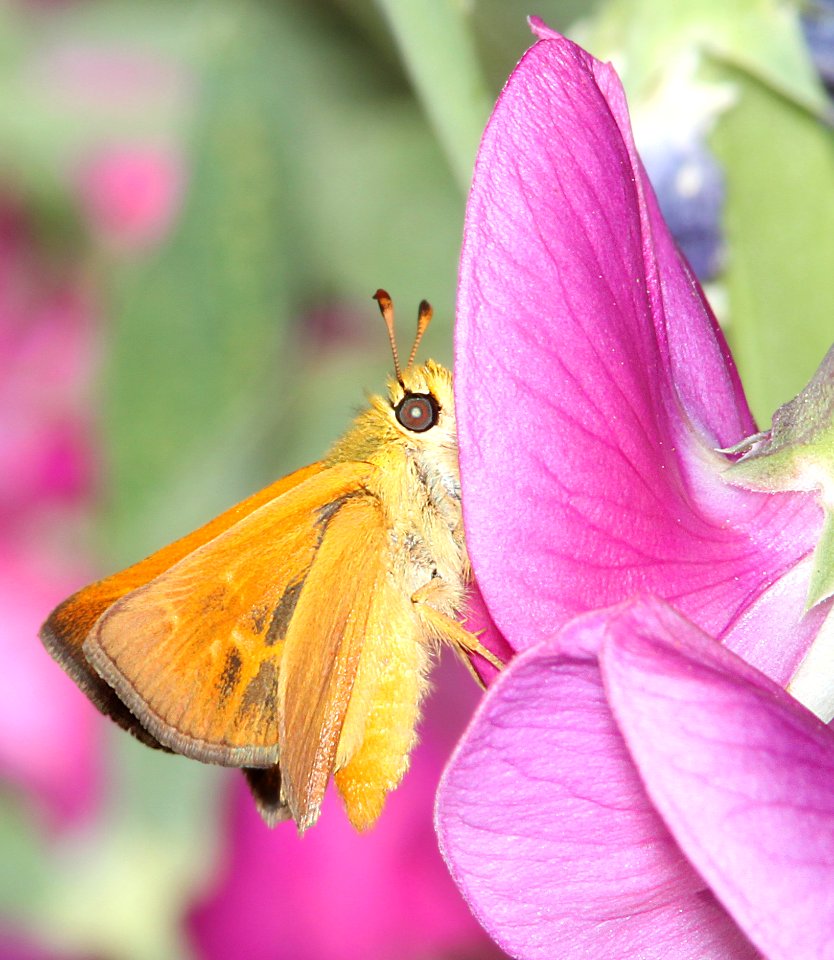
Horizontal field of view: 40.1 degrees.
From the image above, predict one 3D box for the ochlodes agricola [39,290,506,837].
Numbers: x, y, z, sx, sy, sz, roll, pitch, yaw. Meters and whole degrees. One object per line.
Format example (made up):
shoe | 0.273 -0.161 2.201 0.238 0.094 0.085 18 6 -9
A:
ochlodes agricola | -0.066 0.066 0.562 0.209 0.167 0.210 -9 49 37
